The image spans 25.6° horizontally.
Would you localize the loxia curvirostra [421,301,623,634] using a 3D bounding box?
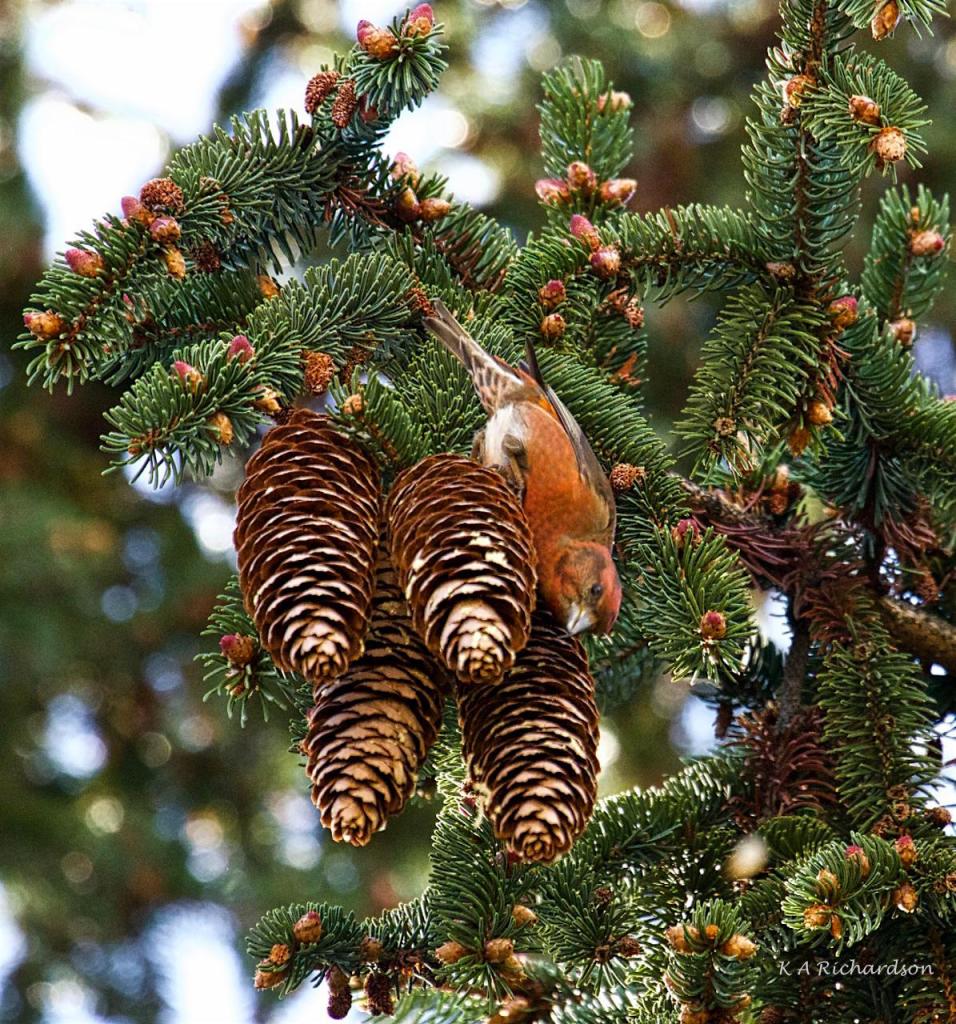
[{"bbox_3d":[0.125,-0.116,5.559,0.402,0.352,1.159,-11,74,1],"label":"loxia curvirostra"}]
